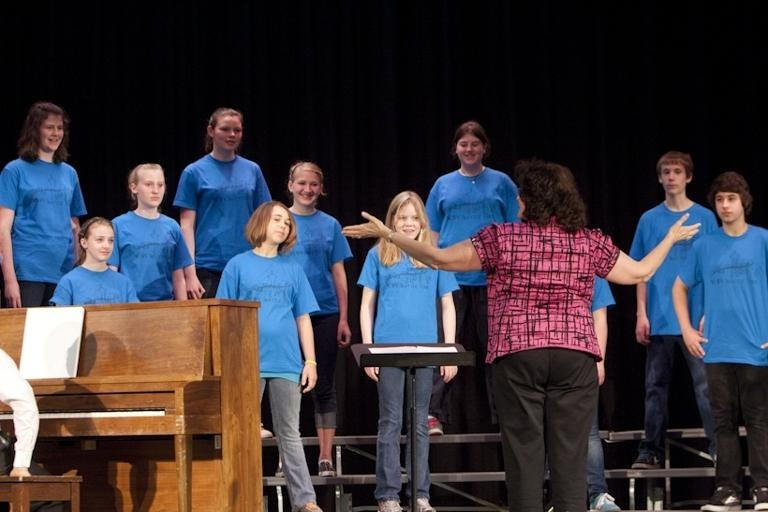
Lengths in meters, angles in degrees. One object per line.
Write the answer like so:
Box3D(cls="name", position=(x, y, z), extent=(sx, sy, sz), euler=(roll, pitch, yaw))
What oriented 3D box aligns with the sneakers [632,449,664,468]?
Box3D(cls="sneakers", position=(1.876, 1.458, 7.710), extent=(0.249, 0.094, 0.093), euler=(5, -8, -20))
